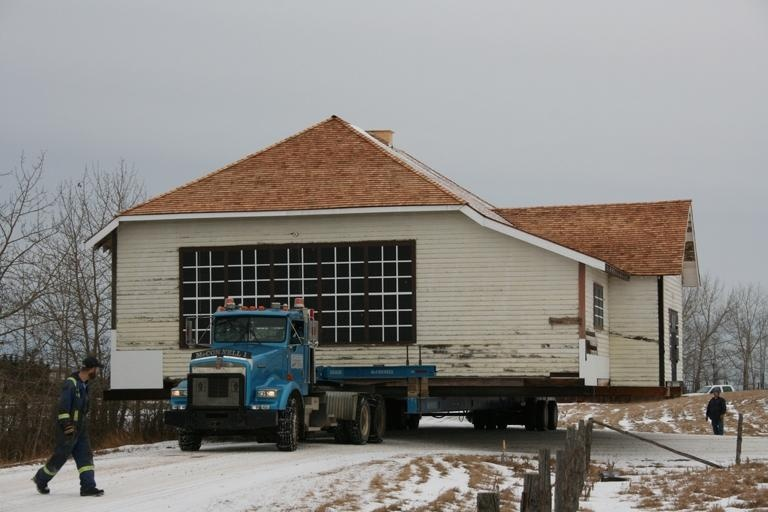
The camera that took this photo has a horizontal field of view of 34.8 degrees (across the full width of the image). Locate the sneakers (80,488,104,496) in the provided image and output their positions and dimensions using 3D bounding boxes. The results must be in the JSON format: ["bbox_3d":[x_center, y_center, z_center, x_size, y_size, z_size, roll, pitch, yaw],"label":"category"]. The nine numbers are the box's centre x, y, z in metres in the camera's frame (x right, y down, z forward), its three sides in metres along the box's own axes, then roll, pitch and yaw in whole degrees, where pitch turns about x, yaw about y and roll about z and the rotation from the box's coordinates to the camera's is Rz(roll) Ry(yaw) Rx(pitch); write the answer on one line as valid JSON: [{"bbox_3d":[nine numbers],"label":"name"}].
[{"bbox_3d":[-7.365,5.913,30.941,0.572,0.238,0.206,-2,-4,5],"label":"sneakers"}]

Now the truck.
[{"bbox_3d":[-0.122,4.300,43.302,5.545,3.990,17.031,-6,-10,31],"label":"truck"}]

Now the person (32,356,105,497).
[{"bbox_3d":[-7.948,4.309,31.354,1.599,3.564,0.807,-6,-11,21],"label":"person"}]

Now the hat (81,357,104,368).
[{"bbox_3d":[-7.445,2.768,31.628,0.536,0.261,0.373,-6,9,-37],"label":"hat"}]
